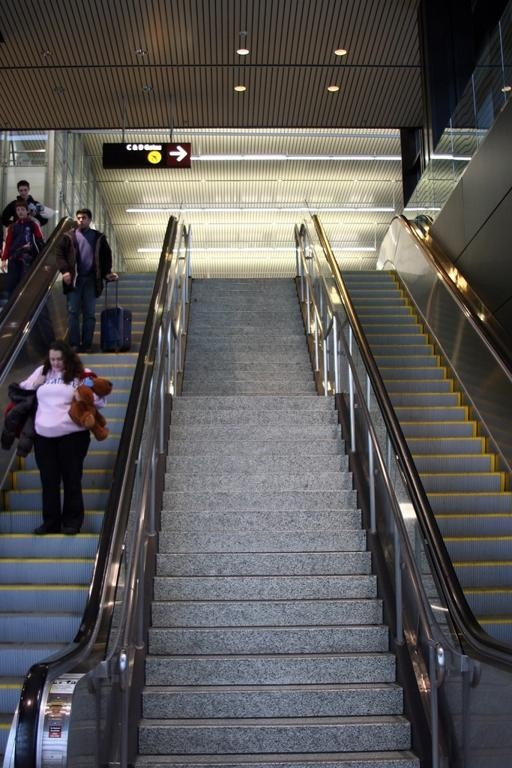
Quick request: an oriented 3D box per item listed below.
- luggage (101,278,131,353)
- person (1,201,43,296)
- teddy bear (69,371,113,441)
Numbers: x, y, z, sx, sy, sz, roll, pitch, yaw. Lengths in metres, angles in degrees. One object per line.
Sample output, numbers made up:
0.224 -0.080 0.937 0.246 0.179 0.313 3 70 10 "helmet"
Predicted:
-1.488 -0.713 5.559 0.255 0.761 0.175 -4 -7 12 "luggage"
-2.598 -1.504 5.878 0.450 0.942 0.490 -8 26 -24 "person"
-1.045 0.148 3.336 0.167 0.236 0.399 -15 27 2 "teddy bear"
